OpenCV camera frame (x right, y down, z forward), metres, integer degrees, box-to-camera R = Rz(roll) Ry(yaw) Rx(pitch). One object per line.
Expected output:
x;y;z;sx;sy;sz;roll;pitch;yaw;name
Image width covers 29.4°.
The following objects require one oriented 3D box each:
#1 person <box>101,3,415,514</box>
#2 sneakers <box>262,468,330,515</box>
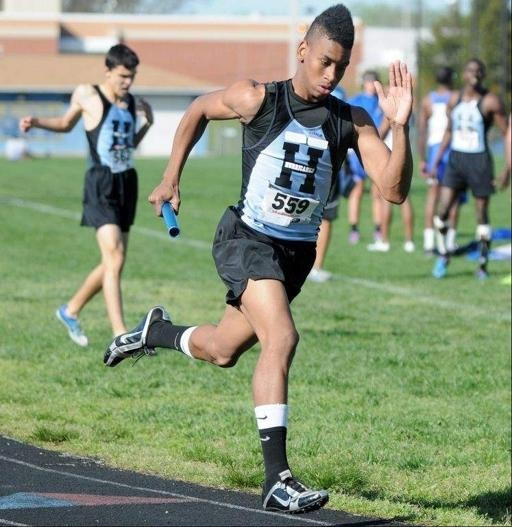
0.015;-0.068;4.267;0.911;2.084;1.476;-6;10;-40;person
0.145;0.882;3.758;0.295;0.157;0.110;-7;1;37;sneakers
